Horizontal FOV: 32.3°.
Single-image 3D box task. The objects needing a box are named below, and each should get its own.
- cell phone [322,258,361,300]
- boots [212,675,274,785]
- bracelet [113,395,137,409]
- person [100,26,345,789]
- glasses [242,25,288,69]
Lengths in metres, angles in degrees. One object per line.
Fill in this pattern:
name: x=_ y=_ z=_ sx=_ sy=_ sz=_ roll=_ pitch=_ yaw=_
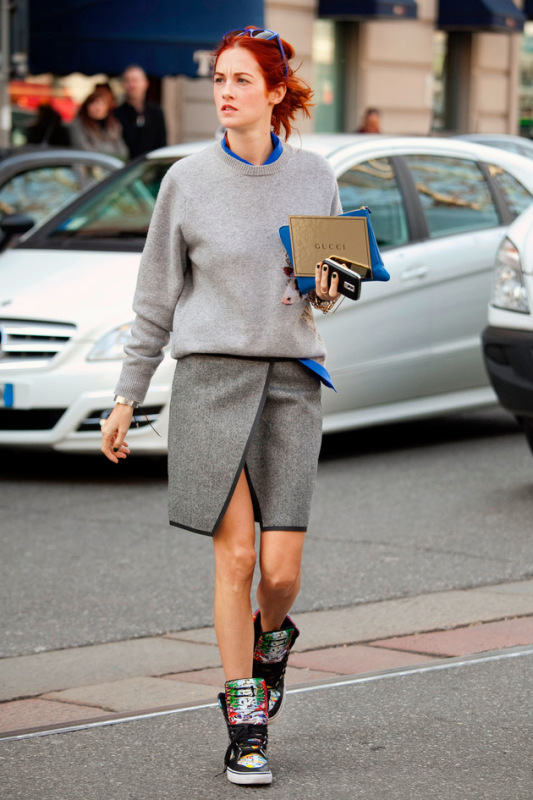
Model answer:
cell phone: x=0.159 y=-0.238 z=1.871 sx=0.031 sy=0.080 sz=0.100 roll=-23 pitch=41 yaw=-31
boots: x=-0.041 y=0.690 z=1.921 sx=0.091 sy=0.144 sz=0.233 roll=-1 pitch=1 yaw=-3
bracelet: x=-0.320 y=-0.001 z=2.082 sx=0.033 sy=0.015 sz=0.038 roll=9 pitch=-19 yaw=-6
person: x=-0.090 y=0.000 z=2.045 sx=0.545 sy=1.601 sz=0.360 roll=-3 pitch=-3 yaw=4
glasses: x=-0.004 y=-0.756 z=1.971 sx=0.102 sy=0.088 sz=0.030 roll=6 pitch=25 yaw=21
